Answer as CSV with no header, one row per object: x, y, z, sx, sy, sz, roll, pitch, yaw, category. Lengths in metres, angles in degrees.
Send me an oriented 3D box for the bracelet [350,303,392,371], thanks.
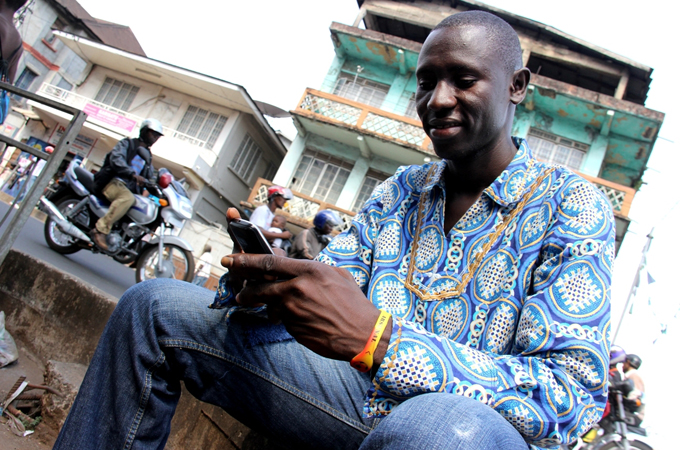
0.105,0.415,1.536,0.092,0.154,0.161,18,24,28,bracelet

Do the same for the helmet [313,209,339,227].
-0.245,-0.136,7.089,0.324,0.200,0.302,22,11,26,helmet

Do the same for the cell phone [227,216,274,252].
-0.315,0.041,1.679,0.101,0.041,0.174,-6,-48,42,cell phone

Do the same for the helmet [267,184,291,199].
-0.960,-0.566,7.292,0.452,0.227,0.300,0,-3,-8,helmet
